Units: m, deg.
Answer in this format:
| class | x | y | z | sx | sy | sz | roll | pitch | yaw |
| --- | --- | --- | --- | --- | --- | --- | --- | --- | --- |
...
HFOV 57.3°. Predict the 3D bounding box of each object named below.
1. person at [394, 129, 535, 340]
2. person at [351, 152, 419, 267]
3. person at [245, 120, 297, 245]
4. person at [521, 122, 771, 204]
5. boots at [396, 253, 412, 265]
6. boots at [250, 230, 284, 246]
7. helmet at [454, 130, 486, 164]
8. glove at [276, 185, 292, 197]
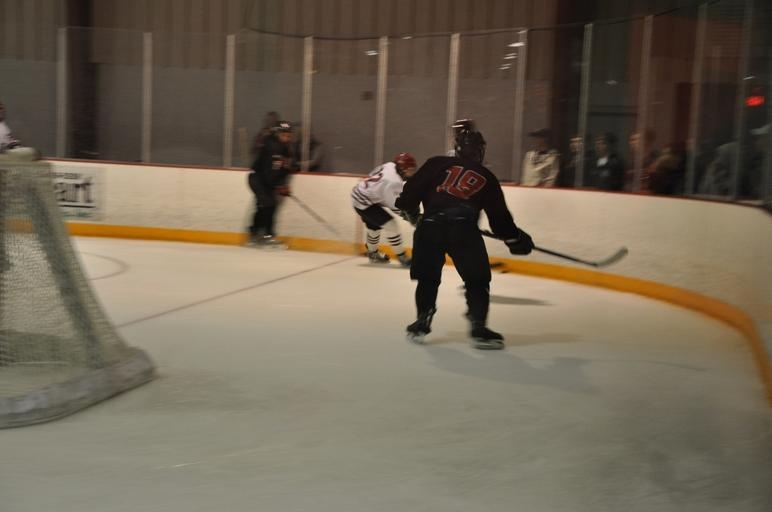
| class | x | y | z | sx | sy | sz | roll | pitch | yaw |
| --- | --- | --- | --- | --- | --- | --- | --- | --- | --- |
| person | 0.595 | -0.150 | 5.273 | 1.121 | 1.489 | 0.775 | 5 | 0 | 4 |
| person | -0.007 | -0.477 | 7.588 | 1.064 | 1.445 | 0.606 | -4 | 50 | -6 |
| person | -1.468 | -0.925 | 8.999 | 0.581 | 1.576 | 0.582 | 2 | 13 | -8 |
| person | 2.567 | -0.907 | 6.904 | 0.646 | 0.647 | 2.853 | -3 | 11 | -29 |
| boots | 0.193 | 0.040 | 7.845 | 0.108 | 0.100 | 0.376 | 8 | -7 | -3 |
| boots | -1.558 | -0.207 | 9.011 | 0.503 | 0.169 | 0.152 | 0 | 9 | 9 |
| helmet | 0.629 | -0.782 | 5.095 | 0.286 | 0.234 | 0.207 | 6 | 14 | 27 |
| glove | -1.281 | -0.797 | 8.820 | 0.161 | 0.075 | 0.118 | 28 | 37 | 14 |
